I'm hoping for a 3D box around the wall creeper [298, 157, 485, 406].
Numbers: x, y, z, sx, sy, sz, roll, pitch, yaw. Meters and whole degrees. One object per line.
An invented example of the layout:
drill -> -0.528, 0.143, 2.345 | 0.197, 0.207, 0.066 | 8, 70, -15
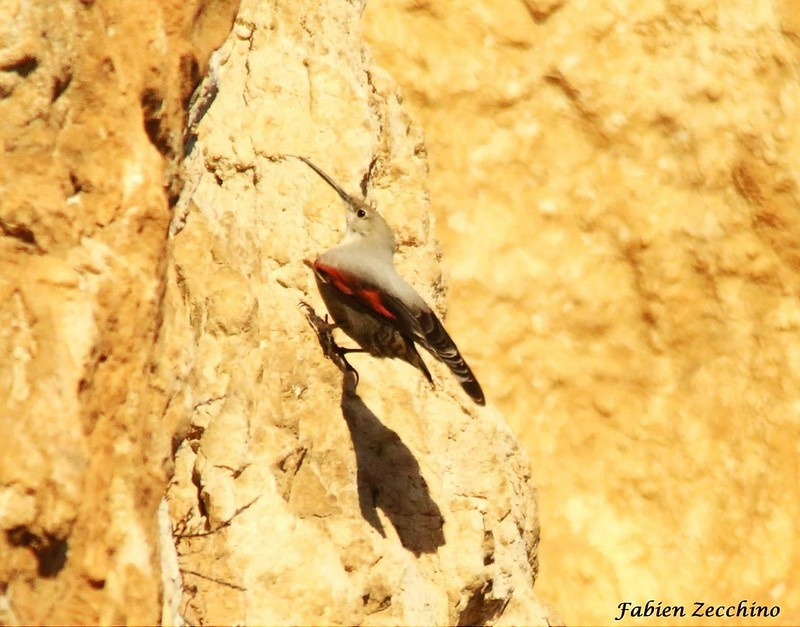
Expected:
wall creeper -> -0.071, -0.184, 11.712 | 1.398, 0.421, 1.004 | 38, 116, 19
